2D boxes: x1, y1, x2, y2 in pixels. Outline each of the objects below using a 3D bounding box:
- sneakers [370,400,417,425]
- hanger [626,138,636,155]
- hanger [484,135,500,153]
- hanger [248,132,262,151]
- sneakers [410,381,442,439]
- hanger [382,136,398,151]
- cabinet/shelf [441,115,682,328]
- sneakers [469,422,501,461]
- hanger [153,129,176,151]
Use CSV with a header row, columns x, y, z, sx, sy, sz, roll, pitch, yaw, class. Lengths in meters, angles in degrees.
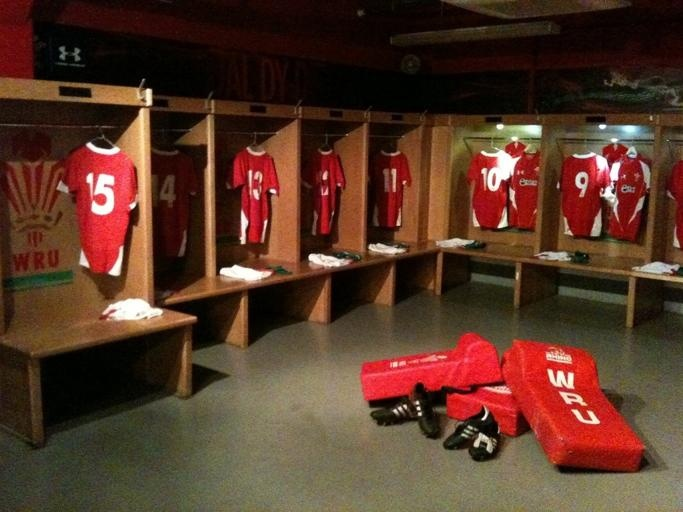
x,y,z,sx,sy,sz,roll,pitch,yaw,class
0.368,1.062,3.455,0.358,0.139,0.124,-7,18,-7,sneakers
3.443,-1.279,5.933,0.102,0.186,0.248,8,14,28,hanger
2.039,-1.511,6.805,0.229,0.197,0.051,5,1,28,hanger
-0.916,-1.208,5.297,0.213,0.220,0.009,-9,13,-43,hanger
0.560,1.024,3.405,0.140,0.152,0.369,-7,49,-24,sneakers
0.635,-1.483,6.599,0.226,0.230,0.009,1,17,-4,hanger
2.749,-0.437,6.087,2.708,1.807,0.721,4,6,38,cabinet/shelf
0.883,1.145,3.095,0.107,0.108,0.288,1,2,28,sneakers
-1.665,-1.090,4.709,0.238,0.216,0.134,-6,13,-42,hanger
